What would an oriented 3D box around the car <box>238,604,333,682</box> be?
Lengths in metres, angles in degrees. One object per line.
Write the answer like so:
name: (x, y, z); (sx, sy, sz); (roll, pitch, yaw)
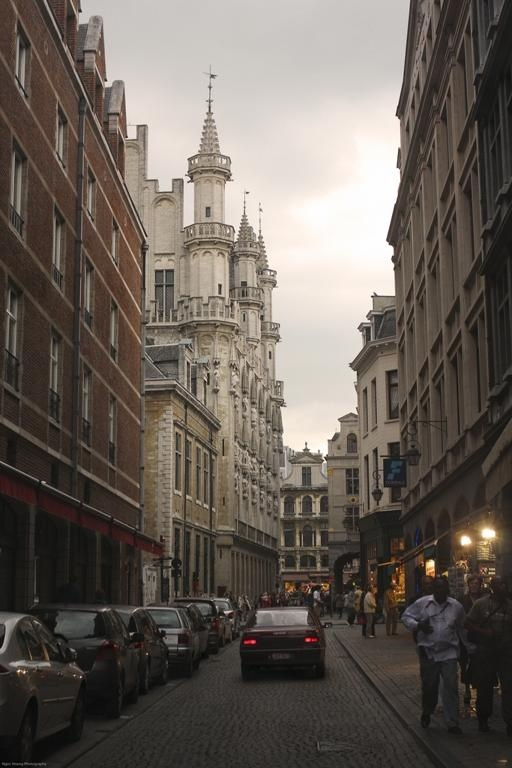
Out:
car: (0.455, 4.611, 17.278); (1.463, 1.376, 1.542); (0, -19, -1)
